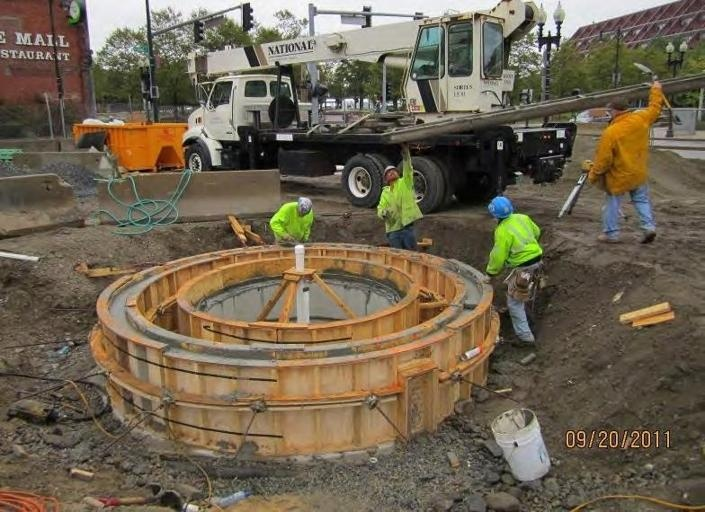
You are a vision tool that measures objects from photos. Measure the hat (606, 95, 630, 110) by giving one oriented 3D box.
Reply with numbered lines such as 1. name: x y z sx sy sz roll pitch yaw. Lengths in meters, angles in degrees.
1. hat: 4.308 -2.481 9.084 0.210 0.226 0.251 -12 16 -13

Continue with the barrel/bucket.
1. barrel/bucket: 1.948 2.172 6.412 0.539 0.560 0.547 -20 2 1

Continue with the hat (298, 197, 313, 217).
1. hat: -0.863 -0.884 10.061 0.206 0.342 0.566 -2 15 1

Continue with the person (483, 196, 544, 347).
1. person: 2.436 0.239 8.381 1.023 2.251 0.578 -12 18 -32

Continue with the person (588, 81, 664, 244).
1. person: 4.453 -1.490 9.123 1.101 2.580 0.495 -2 16 1

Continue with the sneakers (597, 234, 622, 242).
1. sneakers: 4.377 -0.309 9.578 0.146 0.170 0.385 -10 18 -21

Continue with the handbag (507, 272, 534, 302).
1. handbag: 2.448 0.422 8.300 0.396 0.491 0.428 5 -1 -16

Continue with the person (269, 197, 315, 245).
1. person: -1.120 -0.621 10.246 0.752 0.952 0.842 -4 15 -7
